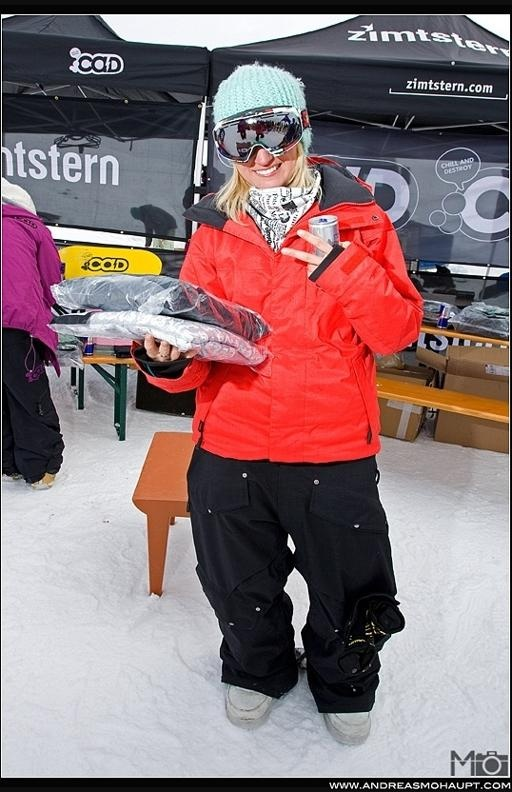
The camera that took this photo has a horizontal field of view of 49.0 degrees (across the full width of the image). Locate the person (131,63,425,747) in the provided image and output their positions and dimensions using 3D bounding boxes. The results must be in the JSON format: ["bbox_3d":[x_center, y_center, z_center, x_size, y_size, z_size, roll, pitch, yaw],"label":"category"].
[{"bbox_3d":[0.110,0.121,1.528,0.755,1.801,0.390,13,23,15],"label":"person"}]

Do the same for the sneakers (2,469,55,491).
[{"bbox_3d":[-1.378,0.507,3.381,0.231,0.081,0.145,-1,2,2],"label":"sneakers"}]

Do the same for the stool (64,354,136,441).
[{"bbox_3d":[-1.167,-0.116,4.379,0.616,0.527,1.073,-4,15,-23],"label":"stool"}]

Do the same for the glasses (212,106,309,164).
[{"bbox_3d":[-0.001,-0.622,1.333,0.213,0.134,0.108,6,22,0],"label":"glasses"}]

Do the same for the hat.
[{"bbox_3d":[-0.012,-0.716,1.415,0.251,0.201,0.193,-17,35,8],"label":"hat"}]

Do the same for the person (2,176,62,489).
[{"bbox_3d":[-1.339,-0.303,3.255,0.344,1.670,0.572,-1,24,-17],"label":"person"}]

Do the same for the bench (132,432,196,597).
[{"bbox_3d":[-0.404,0.541,2.474,0.353,0.409,0.640,-2,29,-5],"label":"bench"}]

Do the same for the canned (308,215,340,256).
[{"bbox_3d":[0.151,-0.358,1.255,0.076,0.085,0.074,-7,36,0],"label":"canned"}]
